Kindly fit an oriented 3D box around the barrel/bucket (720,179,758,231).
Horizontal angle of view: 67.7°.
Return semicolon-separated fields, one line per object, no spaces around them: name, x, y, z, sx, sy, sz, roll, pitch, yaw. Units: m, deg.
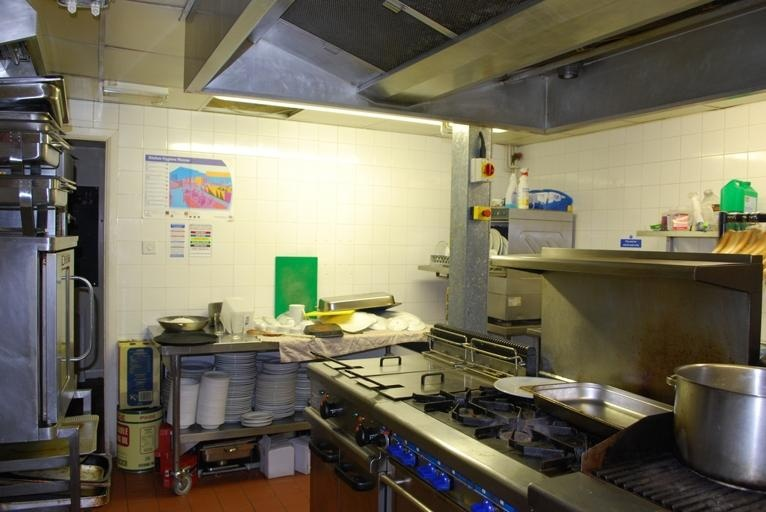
barrel/bucket;2.570;-0.438;4.126;0.251;0.224;0.214;0;3;20

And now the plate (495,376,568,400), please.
plate;0.618;0.580;2.577;0.175;0.016;0.167;-3;4;-32

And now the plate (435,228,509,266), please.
plate;0.705;-0.093;5.266;0.485;0.340;0.862;-2;3;-24

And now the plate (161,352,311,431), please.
plate;-1.104;1.010;4.484;0.946;0.561;0.372;-2;3;-20

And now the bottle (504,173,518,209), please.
bottle;1.153;-0.604;5.186;0.101;0.326;0.442;0;3;13

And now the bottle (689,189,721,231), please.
bottle;2.421;-0.355;4.317;0.189;0.316;0.452;1;3;27

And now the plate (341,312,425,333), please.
plate;-0.011;0.544;4.728;0.719;0.153;0.268;-1;3;-14

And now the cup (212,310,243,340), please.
cup;-1.262;0.561;4.478;0.288;0.250;0.158;1;-1;24

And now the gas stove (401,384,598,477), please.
gas stove;0.511;0.680;2.381;0.437;0.143;0.827;-3;4;-39
